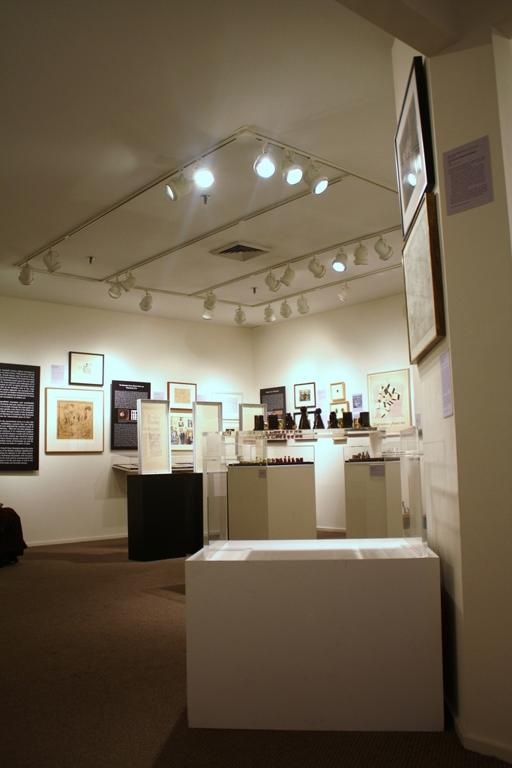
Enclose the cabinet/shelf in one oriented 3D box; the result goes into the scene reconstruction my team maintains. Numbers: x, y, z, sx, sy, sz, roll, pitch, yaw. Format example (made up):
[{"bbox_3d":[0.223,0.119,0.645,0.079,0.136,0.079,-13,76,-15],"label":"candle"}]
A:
[{"bbox_3d":[0.232,1.030,2.576,1.199,0.890,0.723,-3,16,4],"label":"cabinet/shelf"}]
